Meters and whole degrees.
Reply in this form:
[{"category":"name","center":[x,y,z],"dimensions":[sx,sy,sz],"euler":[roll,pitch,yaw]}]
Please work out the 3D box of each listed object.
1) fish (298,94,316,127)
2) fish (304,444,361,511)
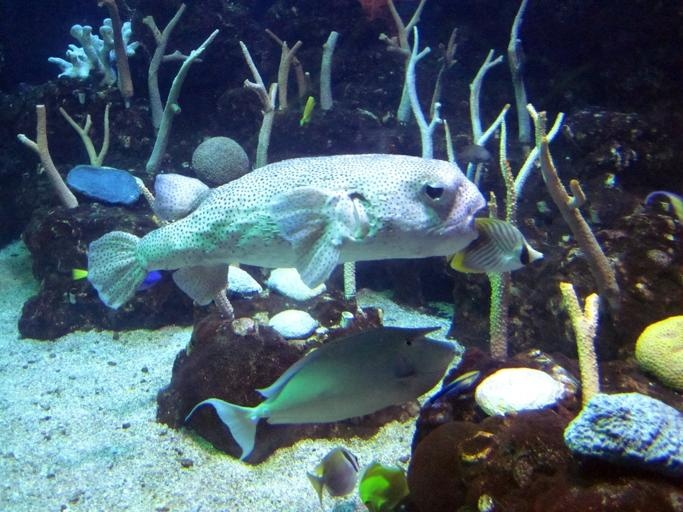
[{"category":"fish","center":[-0.490,-2.067,9.836],"dimensions":[0.187,0.494,0.162],"euler":[3,39,-31]},{"category":"fish","center":[-0.066,2.064,6.493],"dimensions":[0.587,0.361,0.347],"euler":[-13,-5,-18]}]
